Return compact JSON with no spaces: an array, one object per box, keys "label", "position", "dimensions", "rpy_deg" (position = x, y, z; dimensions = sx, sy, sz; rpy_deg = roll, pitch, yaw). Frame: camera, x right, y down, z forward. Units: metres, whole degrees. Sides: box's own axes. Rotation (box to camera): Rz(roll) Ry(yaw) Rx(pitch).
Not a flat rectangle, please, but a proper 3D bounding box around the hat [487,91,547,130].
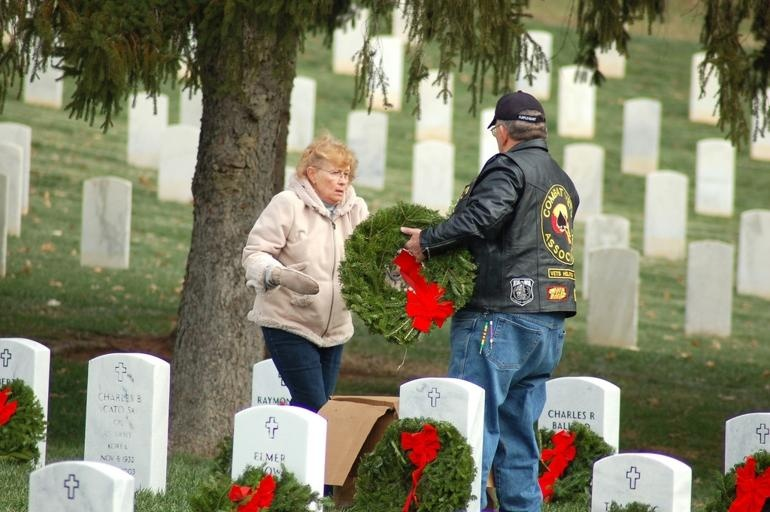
[{"label":"hat","position":[1.468,-1.380,26.594],"dimensions":[0.494,0.394,0.703],"rpy_deg":[0,-9,7]}]
